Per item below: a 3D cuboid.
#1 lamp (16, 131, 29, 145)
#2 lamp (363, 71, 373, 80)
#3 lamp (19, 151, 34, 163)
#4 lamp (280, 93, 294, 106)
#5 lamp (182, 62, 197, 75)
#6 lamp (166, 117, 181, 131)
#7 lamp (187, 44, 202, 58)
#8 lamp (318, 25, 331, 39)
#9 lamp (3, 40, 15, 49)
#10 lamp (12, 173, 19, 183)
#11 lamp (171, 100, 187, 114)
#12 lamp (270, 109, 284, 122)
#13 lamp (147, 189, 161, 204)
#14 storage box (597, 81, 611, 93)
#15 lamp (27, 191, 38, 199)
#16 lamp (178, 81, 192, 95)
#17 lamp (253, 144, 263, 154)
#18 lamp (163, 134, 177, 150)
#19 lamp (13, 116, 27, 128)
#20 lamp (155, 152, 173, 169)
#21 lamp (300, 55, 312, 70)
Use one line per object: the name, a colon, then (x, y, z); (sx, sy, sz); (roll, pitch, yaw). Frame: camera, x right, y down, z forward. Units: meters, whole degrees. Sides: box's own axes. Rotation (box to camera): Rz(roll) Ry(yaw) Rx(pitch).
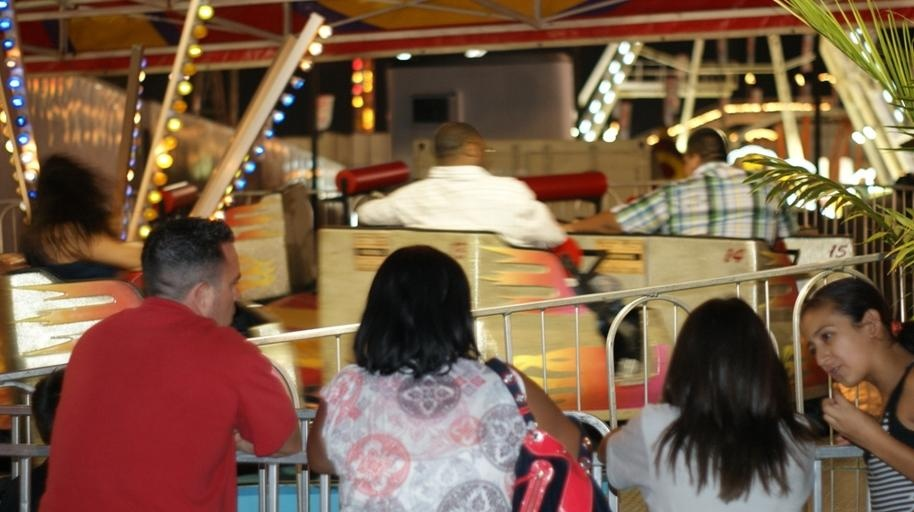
lamp: (-4.607, -1.254, 15.038); (0.142, 0.119, 0.093); (-1, -19, -7)
lamp: (-1.407, -2.844, 22.210); (0.112, 0.182, 0.213); (-2, -7, -6)
lamp: (-4.554, -1.054, 15.009); (0.130, 0.109, 0.065); (7, -8, -11)
lamp: (-1.815, -1.686, 15.152); (0.124, 0.079, 0.124); (3, -28, -7)
lamp: (-2.804, -1.975, 14.874); (0.133, 0.130, 0.123); (6, 3, 7)
lamp: (-2.955, -1.402, 14.928); (0.161, 0.137, 0.175); (-15, 7, -3)
lamp: (-2.747, -2.161, 14.842); (0.149, 0.135, 0.078); (-30, 9, -9)
lamp: (-1.396, -2.369, 14.870); (0.123, 0.161, 0.361); (-2, -7, -7)
lamp: (-4.744, -2.250, 14.984); (0.121, 0.099, 0.040); (-3, -7, 3)
lamp: (-4.724, -0.856, 15.173); (0.050, 0.123, 0.342); (0, -7, -19)
lamp: (-2.913, -1.579, 14.994); (0.121, 0.146, 0.272); (-3, -7, 7)
lamp: (-1.908, -1.502, 15.036); (0.132, 0.110, 0.066); (2, -7, -6)
lamp: (-3.209, -0.633, 15.050); (0.150, 0.128, 0.076); (13, -9, -2)
storage box: (2.228, -2.574, 21.412); (0.181, 0.200, 0.208); (-3, -7, 3)
lamp: (-4.510, -0.654, 15.030); (0.112, 0.094, 0.028); (9, -3, -7)
lamp: (-2.879, -1.771, 14.986); (0.123, 0.142, 0.287); (-2, -7, -7)
lamp: (-2.097, -1.143, 15.013); (0.106, 0.089, 0.090); (-1, 5, 4)
lamp: (-3.037, -1.216, 15.009); (0.161, 0.134, 0.077); (2, -12, -7)
lamp: (-4.631, -1.432, 15.027); (0.120, 0.100, 0.080); (2, -5, -14)
lamp: (-3.088, -1.004, 14.977); (0.175, 0.146, 0.160); (0, 3, 4)
lamp: (-1.577, -2.039, 14.909); (0.139, 0.109, 0.104); (3, -6, -25)
